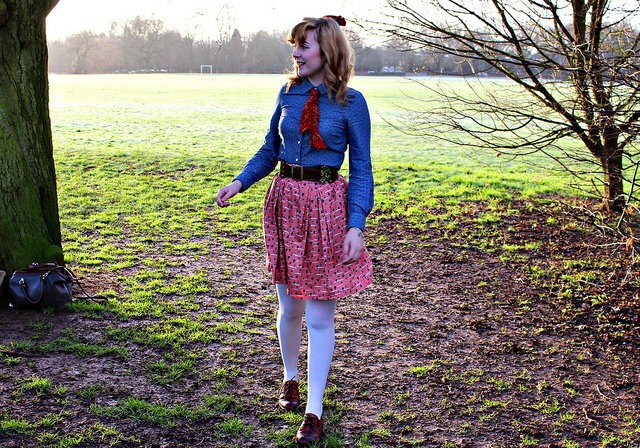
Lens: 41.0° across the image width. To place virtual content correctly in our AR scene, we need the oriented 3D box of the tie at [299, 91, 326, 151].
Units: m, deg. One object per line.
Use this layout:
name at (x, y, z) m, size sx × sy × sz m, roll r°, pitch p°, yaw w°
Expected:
tie at (-0.050, -0.979, 7.983) m, size 0.252 × 0.557 × 0.142 m, roll 2°, pitch 10°, yaw 8°

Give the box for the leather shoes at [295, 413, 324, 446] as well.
leather shoes at (-0.095, 1.957, 8.129) m, size 0.187 × 0.134 × 0.341 m, roll 2°, pitch 9°, yaw 17°

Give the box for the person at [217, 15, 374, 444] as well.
person at (-0.093, 0.068, 8.125) m, size 1.184 × 3.977 × 0.708 m, roll 2°, pitch 10°, yaw 7°
